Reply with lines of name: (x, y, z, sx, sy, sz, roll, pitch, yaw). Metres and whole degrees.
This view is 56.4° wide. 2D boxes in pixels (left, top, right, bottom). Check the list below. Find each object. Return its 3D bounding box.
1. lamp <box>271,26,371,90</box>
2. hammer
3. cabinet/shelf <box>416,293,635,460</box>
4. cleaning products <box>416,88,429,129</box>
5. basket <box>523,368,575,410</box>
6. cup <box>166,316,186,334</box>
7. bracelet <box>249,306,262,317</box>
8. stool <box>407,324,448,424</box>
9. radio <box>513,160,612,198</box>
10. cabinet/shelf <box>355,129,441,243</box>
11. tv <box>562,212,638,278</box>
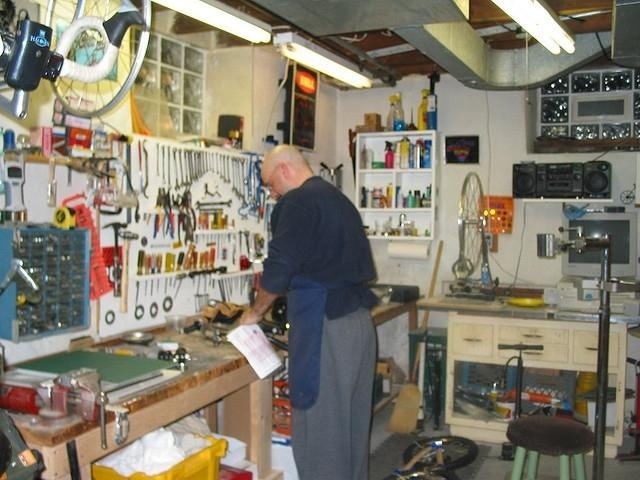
lamp: (-0.094, -1.423, 4.665, 0.554, 0.464, 0.860, 6, 6, 25)
hammer: (-1.211, 0.175, 3.730, 0.066, 0.556, 0.220, 2, 1, 24)
cabinet/shelf: (1.625, 1.257, 4.777, 1.735, 1.488, 0.927, 1, 0, 25)
cleaning products: (1.003, -1.249, 5.780, 0.091, 0.392, 0.210, 0, 1, -28)
basket: (1.904, 1.241, 5.003, 0.339, 0.309, 0.445, 3, 0, 21)
cup: (-0.929, 0.550, 3.835, 0.097, 0.090, 0.108, 0, -10, 2)
bracelet: (-0.337, 0.390, 3.192, 0.049, 0.048, 0.049, 0, -12, 9)
stool: (0.961, 1.189, 5.199, 0.318, 0.694, 0.454, 1, 0, 24)
radio: (2.174, -0.577, 5.346, 0.821, 0.409, 0.273, 3, 29, 32)
cabinet/shelf: (0.774, -0.543, 5.993, 0.766, 1.130, 0.274, 1, 23, 7)
tv: (2.406, 0.056, 5.101, 0.588, 0.574, 0.350, 2, 1, 23)
